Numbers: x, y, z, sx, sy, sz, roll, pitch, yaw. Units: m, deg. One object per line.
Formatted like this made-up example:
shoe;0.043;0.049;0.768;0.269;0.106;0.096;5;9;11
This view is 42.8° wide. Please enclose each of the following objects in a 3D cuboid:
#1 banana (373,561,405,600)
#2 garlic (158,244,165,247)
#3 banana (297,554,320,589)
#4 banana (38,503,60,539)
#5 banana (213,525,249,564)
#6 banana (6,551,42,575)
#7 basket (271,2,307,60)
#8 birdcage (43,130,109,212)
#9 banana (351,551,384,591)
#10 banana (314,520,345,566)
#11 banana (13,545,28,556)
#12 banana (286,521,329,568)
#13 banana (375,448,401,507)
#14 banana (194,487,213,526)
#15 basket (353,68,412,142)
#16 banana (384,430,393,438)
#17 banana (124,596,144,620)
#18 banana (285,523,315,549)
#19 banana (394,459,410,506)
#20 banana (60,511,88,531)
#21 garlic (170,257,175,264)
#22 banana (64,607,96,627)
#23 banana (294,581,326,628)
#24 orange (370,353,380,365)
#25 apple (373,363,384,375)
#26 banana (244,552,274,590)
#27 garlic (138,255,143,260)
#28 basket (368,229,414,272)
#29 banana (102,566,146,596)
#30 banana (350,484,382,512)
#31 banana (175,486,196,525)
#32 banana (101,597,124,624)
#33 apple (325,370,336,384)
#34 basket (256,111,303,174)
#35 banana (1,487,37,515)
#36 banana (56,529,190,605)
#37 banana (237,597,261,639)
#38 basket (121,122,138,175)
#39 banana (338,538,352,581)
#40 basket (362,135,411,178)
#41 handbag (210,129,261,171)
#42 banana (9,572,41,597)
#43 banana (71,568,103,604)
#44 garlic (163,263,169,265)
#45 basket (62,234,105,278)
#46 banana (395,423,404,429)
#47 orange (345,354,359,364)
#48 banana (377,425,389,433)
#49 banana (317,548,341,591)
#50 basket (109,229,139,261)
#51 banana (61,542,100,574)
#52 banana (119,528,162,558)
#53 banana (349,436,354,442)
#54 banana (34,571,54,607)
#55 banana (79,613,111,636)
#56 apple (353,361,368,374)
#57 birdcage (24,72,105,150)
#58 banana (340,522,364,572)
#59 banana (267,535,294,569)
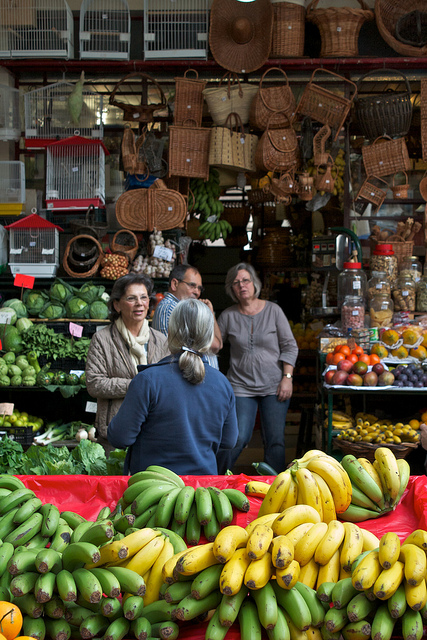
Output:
banana;0.308;0.449;0.952;0.033;0.026;0.074;23;24;25
garlic;-0.421;-0.598;4.403;0.050;0.021;0.037;9;6;44
banana;0.191;0.502;1.085;0.023;0.089;0.032;26;44;4
banana;-0.360;0.435;1.179;0.034;0.018;0.066;-7;37;1
banana;0.034;0.425;1.025;0.024;0.034;0.068;-36;6;42
banana;-0.342;0.436;0.975;0.025;0.035;0.067;-24;2;-29
basket;0.640;-2.422;4.579;0.295;0.456;0.160;1;3;3
birdcage;-1.229;-1.293;4.748;0.438;0.526;0.357;-1;-2;28
banana;0.277;0.436;0.971;0.031;0.030;0.090;30;25;19
banana;0.248;0.458;1.120;0.049;0.039;0.145;1;13;29
banana;-0.370;0.441;1.044;0.009;0.028;0.028;38;49;7
banana;0.201;0.427;1.124;0.046;0.055;0.170;19;20;14
banana;0.502;0.452;1.567;0.073;0.166;0.117;2;3;18
banana;-0.023;0.456;1.352;0.047;0.044;0.134;1;16;-6
basket;1.391;-1.682;4.542;0.542;0.653;0.538;-3;2;7
banana;1.074;0.698;3.327;0.028;0.028;0.048;-30;16;6
banana;-0.140;0.508;0.968;0.023;0.025;0.042;-3;10;18
banana;0.179;0.436;1.117;0.022;0.027;0.082;-6;10;35
banana;0.556;0.460;1.587;0.052;0.149;0.041;2;-12;26
banana;-0.325;0.465;1.271;0.026;0.029;0.083;-27;43;-30
garlic;-0.334;-0.478;4.449;0.037;0.021;0.037;-3;-3;8
banana;-0.240;0.531;0.975;0.028;0.018;0.050;33;-36;-19
banana;0.171;0.512;0.970;0.026;0.095;0.031;-27;-7;-28
orange;1.049;0.256;3.550;0.062;0.059;0.061;-12;-5;-11
apple;1.033;0.308;3.398;0.055;0.066;0.055;-13;-18;39
banana;0.081;0.442;0.955;0.034;0.032;0.070;16;16;14
garlic;-0.592;-0.499;4.394;0.038;0.038;0.021;-2;-13;-3
basket;1.555;-0.578;4.694;0.378;0.434;0.458;0;-1;6
banana;-0.156;0.474;0.983;0.039;0.032;0.116;-18;-32;14
banana;0.421;0.507;1.558;0.033;0.123;0.045;-46;11;-5
banana;-0.067;0.449;1.319;0.031;0.029;0.089;4;34;11
banana;-0.176;0.506;0.948;0.033;0.020;0.064;-18;-25;-7
apple;0.725;0.357;3.377;0.069;0.083;0.069;4;5;17
basket;0.617;-1.484;4.513;0.376;0.213;0.463;18;-14;36
banana;-0.460;0.426;1.278;0.046;0.015;0.046;-22;34;-26
banana;-0.164;0.474;1.033;0.204;0.084;0.072;-4;-39;22
banana;0.065;0.528;0.959;0.022;0.082;0.027;-8;-37;5
basket;-0.722;-1.462;4.636;0.132;0.469;0.322;0;3;-13
banana;0.261;0.493;1.103;0.018;0.067;0.022;20;17;20
basket;1.450;-1.409;4.606;0.323;0.298;0.118;-2;10;31
handbag;0.188;-1.428;4.591;0.476;0.295;0.157;-1;1;-40
banana;-0.326;0.455;0.952;0.029;0.021;0.059;35;6;7
banana;-0.215;0.456;0.931;0.071;0.036;0.027;44;21;32
garlic;-0.381;-0.446;4.367;0.075;0.013;0.010;5;-3;38
basket;-1.040;-0.508;4.360;0.326;0.346;0.165;0;3;-13
banana;1.165;0.653;3.401;0.041;0.034;0.034;-18;24;-15
orange;0.890;0.249;3.472;0.059;0.058;0.058;-41;31;-23
banana;1.061;0.680;3.388;0.029;0.032;0.062;-7;9;-8
banana;0.231;0.497;1.078;0.026;0.096;0.032;18;-17;-21
basket;-0.723;-0.603;4.424;0.211;0.267;0.168;11;21;17
banana;-0.237;0.411;0.959;0.032;0.046;0.154;28;-20;-11
banana;-0.149;0.443;1.097;0.106;0.037;0.028;-9;-2;-43
banana;0.842;0.730;3.315;0.024;0.029;0.024;-3;5;5
banana;-0.293;0.467;0.939;0.038;0.023;0.063;-32;25;-4
banana;-0.211;0.539;0.962;0.029;0.018;0.059;26;-17;-5
apple;0.905;0.295;3.344;0.070;0.070;0.070;-14;-27;22
birdcage;-1.324;-1.822;4.794;0.544;0.491;0.296;-8;19;-26
banana;0.269;0.469;1.106;0.049;0.034;0.107;12;18;11
banana;0.129;0.419;0.977;0.028;0.019;0.056;-18;1;3
